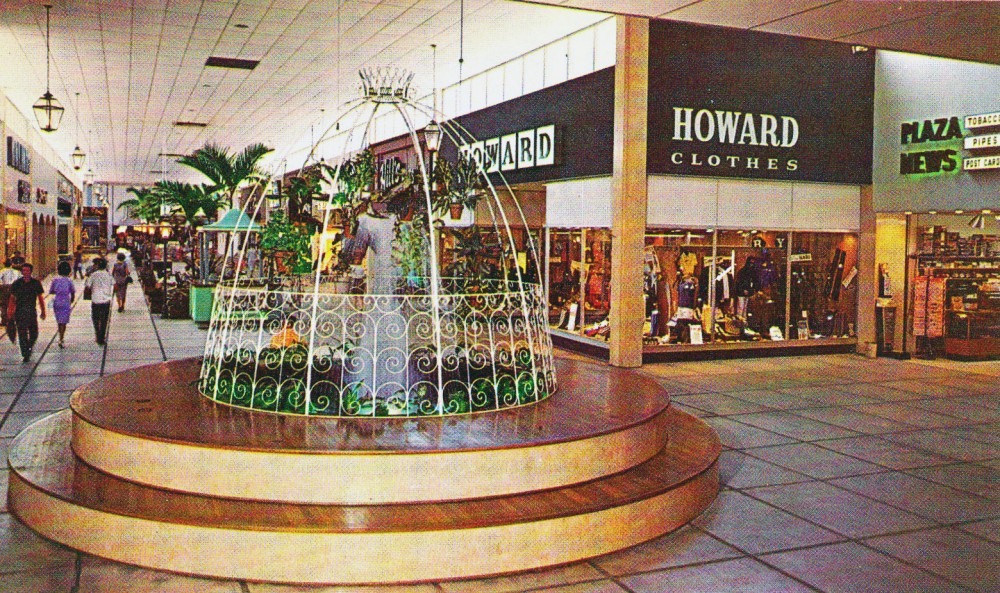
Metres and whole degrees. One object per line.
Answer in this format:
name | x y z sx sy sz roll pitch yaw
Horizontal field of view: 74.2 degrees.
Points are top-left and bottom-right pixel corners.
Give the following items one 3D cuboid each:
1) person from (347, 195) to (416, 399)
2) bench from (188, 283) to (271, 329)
person | -1.779 0.127 8.896 1.140 2.607 0.633 -5 7 -8
bench | -5.147 0.198 12.390 1.488 0.805 1.428 0 0 -33
